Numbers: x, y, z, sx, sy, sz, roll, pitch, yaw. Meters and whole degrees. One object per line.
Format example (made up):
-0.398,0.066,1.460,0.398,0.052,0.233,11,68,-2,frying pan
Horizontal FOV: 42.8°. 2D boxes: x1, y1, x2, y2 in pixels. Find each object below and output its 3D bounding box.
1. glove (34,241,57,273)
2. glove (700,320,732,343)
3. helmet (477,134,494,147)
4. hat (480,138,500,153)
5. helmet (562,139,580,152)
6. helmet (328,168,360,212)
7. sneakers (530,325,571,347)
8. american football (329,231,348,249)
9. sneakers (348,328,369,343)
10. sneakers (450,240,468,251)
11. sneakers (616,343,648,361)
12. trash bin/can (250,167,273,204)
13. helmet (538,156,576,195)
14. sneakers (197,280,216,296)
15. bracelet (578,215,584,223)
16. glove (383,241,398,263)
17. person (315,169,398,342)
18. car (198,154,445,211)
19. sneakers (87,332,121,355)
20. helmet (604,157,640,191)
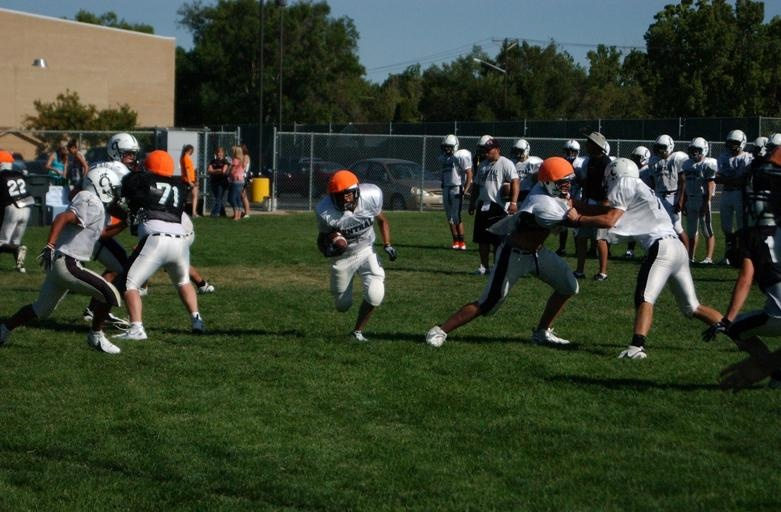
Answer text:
-4.460,-0.004,12.945,0.197,0.378,0.433,-1,8,-21,glove
4.177,0.962,12.791,0.338,0.263,0.131,-35,-22,7,glove
1.762,-2.070,17.876,0.259,0.203,0.393,1,3,44,helmet
1.774,-1.971,17.711,0.296,0.255,0.250,0,7,-15,hat
3.588,-2.223,19.588,0.303,0.328,0.375,3,0,-18,helmet
-0.622,-0.920,13.273,0.415,0.477,0.551,-6,20,6,helmet
2.136,1.092,13.550,0.599,0.274,0.215,1,8,1,sneakers
-0.686,-0.205,13.083,0.170,0.198,0.145,-1,7,-22,american football
-0.438,1.090,13.567,0.266,0.120,0.117,3,8,16,sneakers
1.412,-0.221,20.688,0.220,0.182,0.410,-1,-1,4,sneakers
3.131,1.250,12.925,0.379,0.170,0.176,-1,11,10,sneakers
-3.818,-1.965,29.228,0.484,0.781,0.532,1,-1,5,trash bin/can
2.159,-1.054,13.121,0.540,0.510,0.464,3,18,-1,helmet
-2.943,0.462,15.871,0.284,0.192,0.137,-6,35,-7,sneakers
2.425,-0.483,12.822,0.089,0.079,0.145,3,0,-7,bracelet
0.007,-0.088,13.824,0.211,0.091,0.329,13,-10,6,glove
-0.548,0.012,13.310,0.907,2.290,0.498,1,7,-5,person
-0.928,-2.241,29.913,4.286,1.388,2.002,0,5,3,car
-3.765,1.126,13.117,0.491,0.221,0.209,22,32,12,sneakers
3.091,-1.110,13.562,0.499,0.442,0.378,-14,-11,38,helmet
